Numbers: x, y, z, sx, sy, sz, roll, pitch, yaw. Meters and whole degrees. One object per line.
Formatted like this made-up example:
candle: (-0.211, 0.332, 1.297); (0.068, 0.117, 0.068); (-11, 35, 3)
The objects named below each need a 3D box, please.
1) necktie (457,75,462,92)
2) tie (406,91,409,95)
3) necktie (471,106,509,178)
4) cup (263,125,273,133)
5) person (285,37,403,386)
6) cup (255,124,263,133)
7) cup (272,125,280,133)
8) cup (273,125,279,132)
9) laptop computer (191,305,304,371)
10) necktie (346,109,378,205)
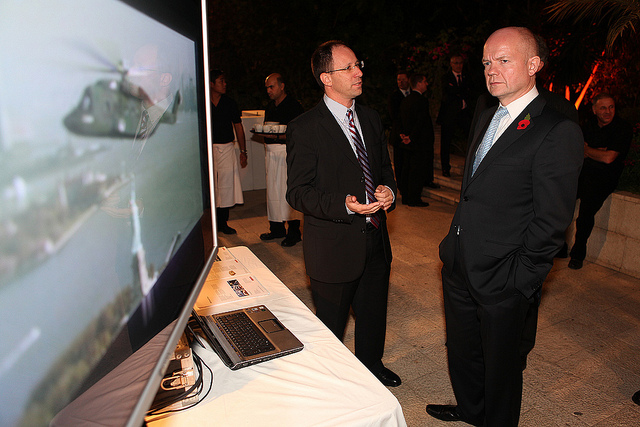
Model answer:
necktie: (2.365, -2.216, 7.227); (0.073, 0.262, 0.190); (6, 24, 19)
tie: (1.502, -2.063, 7.285); (0.050, 0.072, 0.021); (4, 7, 12)
necktie: (0.877, -0.357, 2.191); (0.053, 0.447, 0.067); (21, 7, 3)
cup: (-0.605, -0.989, 4.957); (0.127, 0.111, 0.070); (2, 20, 4)
person: (0.201, 0.127, 2.543); (0.632, 2.135, 0.666); (18, 30, 40)
cup: (-0.709, -1.008, 5.031); (0.114, 0.115, 0.084); (1, 22, 0)
cup: (-0.503, -0.982, 4.927); (0.097, 0.099, 0.072); (-1, 7, -6)
cup: (-0.503, -0.988, 4.950); (0.068, 0.061, 0.073); (-2, 23, 1)
laptop computer: (-0.295, 0.492, 1.755); (0.326, 0.054, 0.422); (-6, 15, -33)
necktie: (0.237, -0.331, 2.403); (0.125, 0.468, 0.280); (-6, 23, -9)
